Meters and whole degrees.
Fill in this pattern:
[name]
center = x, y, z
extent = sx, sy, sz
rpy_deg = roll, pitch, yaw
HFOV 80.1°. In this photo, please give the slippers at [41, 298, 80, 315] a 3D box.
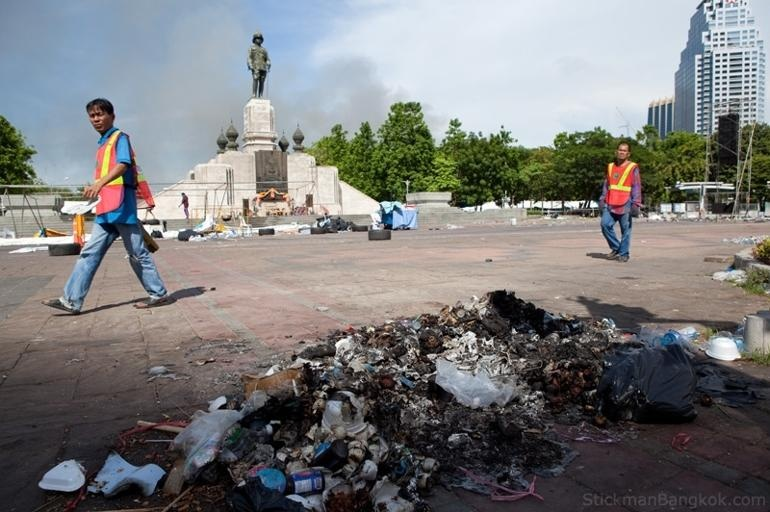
[slippers]
center = -4.520, 0.729, 6.380
extent = 0.350, 0.142, 0.115
rpy_deg = 25, -1, -29
